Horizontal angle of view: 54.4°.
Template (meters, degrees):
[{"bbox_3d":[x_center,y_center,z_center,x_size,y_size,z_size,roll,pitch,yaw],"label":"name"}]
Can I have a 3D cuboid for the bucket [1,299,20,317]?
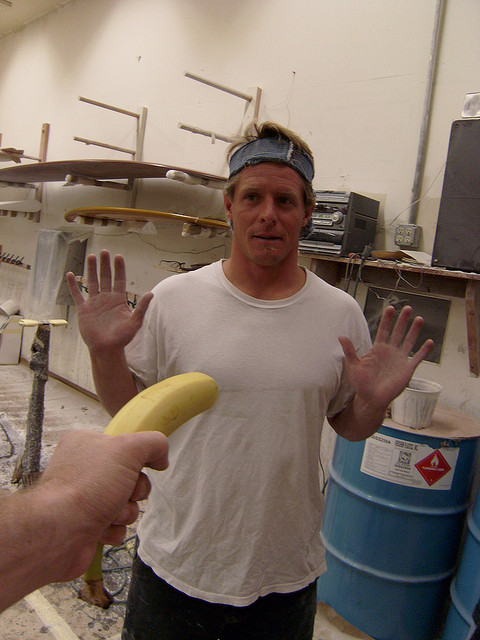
[{"bbox_3d":[-3.598,-0.159,7.169,0.218,0.220,0.389,7,8,-4],"label":"bucket"}]

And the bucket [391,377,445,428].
[{"bbox_3d":[0.924,0.440,2.444,0.210,0.214,0.281,13,9,35],"label":"bucket"}]
